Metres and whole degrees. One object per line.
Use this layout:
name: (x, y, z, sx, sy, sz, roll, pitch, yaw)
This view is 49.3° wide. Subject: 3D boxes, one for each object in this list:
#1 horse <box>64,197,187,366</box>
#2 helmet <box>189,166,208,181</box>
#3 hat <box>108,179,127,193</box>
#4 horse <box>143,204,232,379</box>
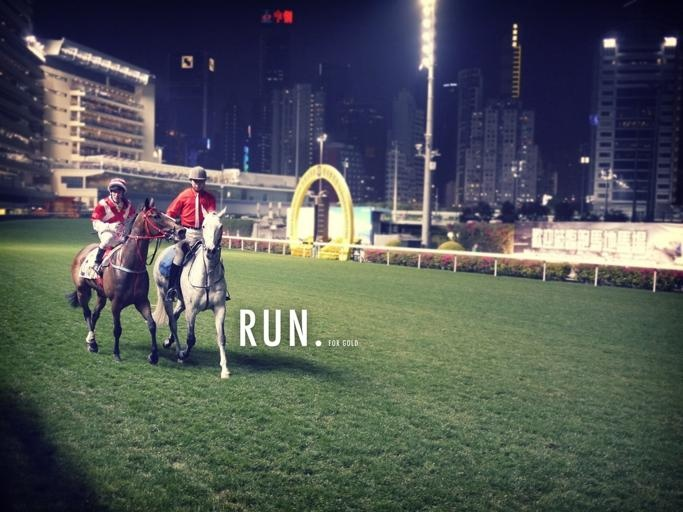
horse: (-3.800, 0.383, 12.233, 3.383, 2.660, 0.780, 4, 6, 44)
helmet: (-2.244, -1.279, 11.619, 0.200, 0.178, 0.296, 1, 3, -18)
hat: (-3.587, -1.166, 11.923, 0.224, 0.257, 0.305, 4, -7, -14)
horse: (-2.318, 0.486, 11.740, 0.947, 2.616, 1.705, -9, 17, -38)
